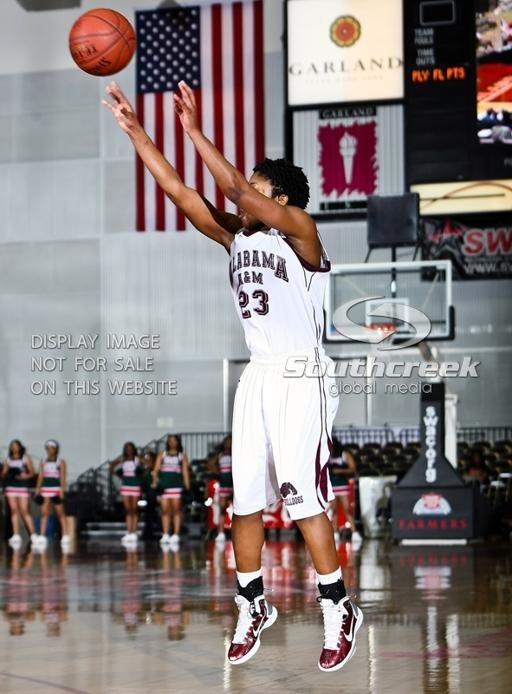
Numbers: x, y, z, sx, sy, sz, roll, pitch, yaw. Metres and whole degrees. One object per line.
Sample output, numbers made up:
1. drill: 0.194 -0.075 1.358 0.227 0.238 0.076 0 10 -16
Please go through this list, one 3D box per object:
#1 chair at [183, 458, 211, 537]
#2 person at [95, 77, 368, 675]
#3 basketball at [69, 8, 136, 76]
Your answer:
1. chair: -0.656 1.784 17.100 0.355 0.747 0.560 0 1 10
2. person: 0.002 0.136 6.757 0.901 2.628 0.650 -1 -3 4
3. basketball: -0.710 -1.513 7.507 0.300 0.420 0.326 2 7 24
